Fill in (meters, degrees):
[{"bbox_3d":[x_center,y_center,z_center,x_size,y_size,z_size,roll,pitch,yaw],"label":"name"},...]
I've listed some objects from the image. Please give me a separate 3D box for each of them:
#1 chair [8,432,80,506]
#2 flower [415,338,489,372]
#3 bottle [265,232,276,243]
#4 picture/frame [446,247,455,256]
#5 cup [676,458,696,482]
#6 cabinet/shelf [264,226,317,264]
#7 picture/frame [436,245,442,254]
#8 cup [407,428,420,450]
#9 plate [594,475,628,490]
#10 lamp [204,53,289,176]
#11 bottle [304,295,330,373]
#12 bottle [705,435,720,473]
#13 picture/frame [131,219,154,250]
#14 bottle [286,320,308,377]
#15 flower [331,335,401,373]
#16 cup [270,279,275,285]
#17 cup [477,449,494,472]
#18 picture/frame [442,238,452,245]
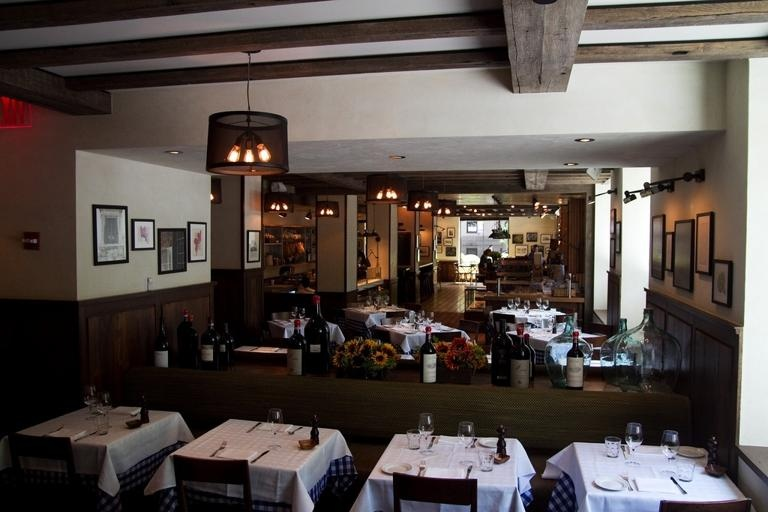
[{"bbox_3d":[-2.666,1.749,4.587,0.572,0.713,0.341,0,-1,18],"label":"chair"},{"bbox_3d":[0.681,0.889,5.177,0.443,0.300,0.266,0,-1,5],"label":"flower"},{"bbox_3d":[-2.819,-0.474,14.029,0.126,0.241,0.247,-6,-7,19],"label":"bottle"},{"bbox_3d":[3.352,-0.263,28.657,0.420,0.370,0.046,1,-4,9],"label":"picture/frame"},{"bbox_3d":[2.214,1.561,4.167,0.120,0.116,0.137,-1,-7,8],"label":"cup"},{"bbox_3d":[-2.338,-0.244,15.073,1.919,0.891,0.306,-3,-3,35],"label":"cabinet/shelf"},{"bbox_3d":[2.653,-0.363,27.703,0.404,0.476,0.048,1,0,1],"label":"picture/frame"},{"bbox_3d":[0.235,1.449,4.564,0.113,0.118,0.130,-1,-3,4],"label":"cup"},{"bbox_3d":[1.597,1.605,4.025,0.229,0.046,0.144,0,-1,2],"label":"plate"},{"bbox_3d":[-1.028,-0.949,4.295,0.531,0.943,0.542,0,0,44],"label":"lamp"},{"bbox_3d":[-0.644,0.736,5.440,0.285,0.758,0.282,0,9,0],"label":"bottle"},{"bbox_3d":[2.453,1.467,4.213,0.133,0.246,0.133,1,-2,0],"label":"bottle"},{"bbox_3d":[-2.849,-0.260,6.669,0.026,0.300,0.349,-1,4,22],"label":"picture/frame"},{"bbox_3d":[-0.827,0.907,5.357,0.155,0.422,0.154,0,-1,0],"label":"bottle"},{"bbox_3d":[-0.175,0.944,5.311,0.622,0.337,0.281,0,-1,-3],"label":"flower"},{"bbox_3d":[-2.665,0.601,13.579,0.109,0.177,0.108,0,0,0],"label":"cup"},{"bbox_3d":[0.776,1.535,4.296,0.100,0.105,0.124,1,-10,-8],"label":"cup"},{"bbox_3d":[3.188,-0.736,28.681,0.346,0.310,0.028,2,-3,4],"label":"picture/frame"}]
